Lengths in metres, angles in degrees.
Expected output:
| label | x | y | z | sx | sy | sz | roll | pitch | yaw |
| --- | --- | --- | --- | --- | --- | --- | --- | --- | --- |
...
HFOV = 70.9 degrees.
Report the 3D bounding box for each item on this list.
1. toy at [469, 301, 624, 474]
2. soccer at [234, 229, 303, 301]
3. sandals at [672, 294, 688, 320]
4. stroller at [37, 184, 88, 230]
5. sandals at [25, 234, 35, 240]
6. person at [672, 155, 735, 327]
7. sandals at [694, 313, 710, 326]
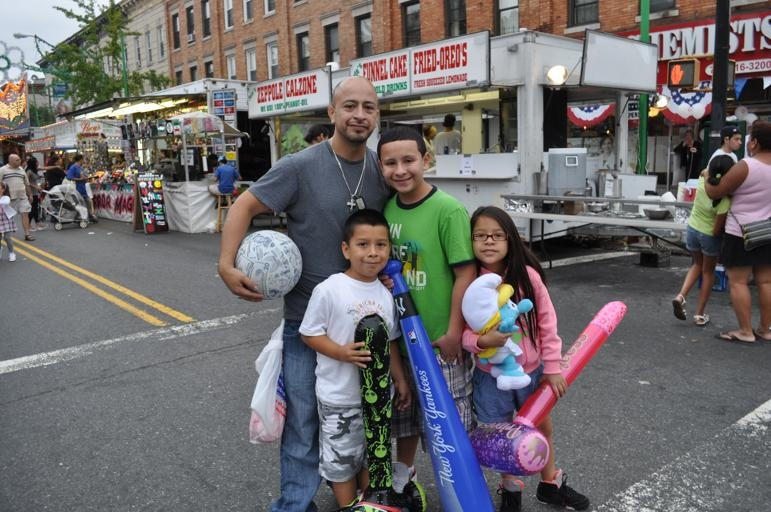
| label | x | y | z | sx | sy | sz | roll | pitch | yaw |
| --- | --- | --- | --- | --- | --- | --- | --- | --- | --- |
| toy | 1.083 | 0.917 | 3.713 | 1.764 | 0.341 | 0.556 | -48 | 8 | -23 |
| soccer | -0.749 | 0.057 | 3.487 | 0.411 | 0.403 | 0.209 | -4 | 15 | -9 |
| sandals | 3.869 | 0.679 | 7.118 | 0.129 | 0.344 | 0.159 | -2 | 39 | 44 |
| stroller | -10.514 | -1.645 | 17.824 | 1.202 | 1.465 | 1.036 | -9 | 16 | -27 |
| sandals | -10.105 | -0.519 | 15.417 | 0.320 | 0.134 | 0.129 | 5 | 9 | 39 |
| person | 4.160 | -0.196 | 6.992 | 0.779 | 2.249 | 0.841 | -4 | 0 | -25 |
| sandals | 4.167 | 0.833 | 7.109 | 0.116 | 0.100 | 0.228 | -6 | -6 | 44 |
